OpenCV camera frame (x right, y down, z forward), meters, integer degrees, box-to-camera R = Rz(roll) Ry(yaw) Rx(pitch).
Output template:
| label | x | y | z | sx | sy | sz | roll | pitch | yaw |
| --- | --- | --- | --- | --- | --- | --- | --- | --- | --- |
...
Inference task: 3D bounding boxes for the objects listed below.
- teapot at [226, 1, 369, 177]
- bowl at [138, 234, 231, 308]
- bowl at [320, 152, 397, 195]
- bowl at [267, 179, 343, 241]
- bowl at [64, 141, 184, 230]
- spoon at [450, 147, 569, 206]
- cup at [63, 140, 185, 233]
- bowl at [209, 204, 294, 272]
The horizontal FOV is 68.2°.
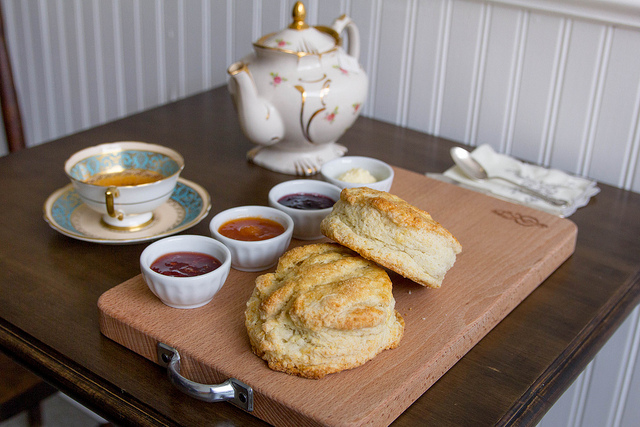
| label | x | y | z | sx | sy | sz | roll | pitch | yaw |
| --- | --- | --- | --- | --- | --- | --- | --- | --- | --- |
| teapot | -0.051 | -0.342 | 1.320 | 0.408 | 0.415 | 0.273 | -11 | 41 | -19 |
| bowl | -0.256 | 0.088 | 0.868 | 0.142 | 0.068 | 0.142 | 1 | 21 | 0 |
| bowl | 0.090 | -0.128 | 1.320 | 0.202 | 0.075 | 0.204 | 1 | 6 | 0 |
| bowl | -0.035 | -0.023 | 1.095 | 0.150 | 0.076 | 0.150 | 1 | 29 | 0 |
| bowl | -0.451 | -0.051 | 1.088 | 0.249 | 0.130 | 0.278 | 4 | 26 | -5 |
| spoon | 0.542 | -0.105 | 1.365 | 0.296 | 0.041 | 0.058 | 30 | 44 | 13 |
| cup | -0.462 | -0.084 | 1.109 | 0.226 | 0.117 | 0.258 | 6 | 28 | -2 |
| bowl | -0.135 | 0.041 | 0.983 | 0.147 | 0.070 | 0.146 | 0 | 22 | 0 |
